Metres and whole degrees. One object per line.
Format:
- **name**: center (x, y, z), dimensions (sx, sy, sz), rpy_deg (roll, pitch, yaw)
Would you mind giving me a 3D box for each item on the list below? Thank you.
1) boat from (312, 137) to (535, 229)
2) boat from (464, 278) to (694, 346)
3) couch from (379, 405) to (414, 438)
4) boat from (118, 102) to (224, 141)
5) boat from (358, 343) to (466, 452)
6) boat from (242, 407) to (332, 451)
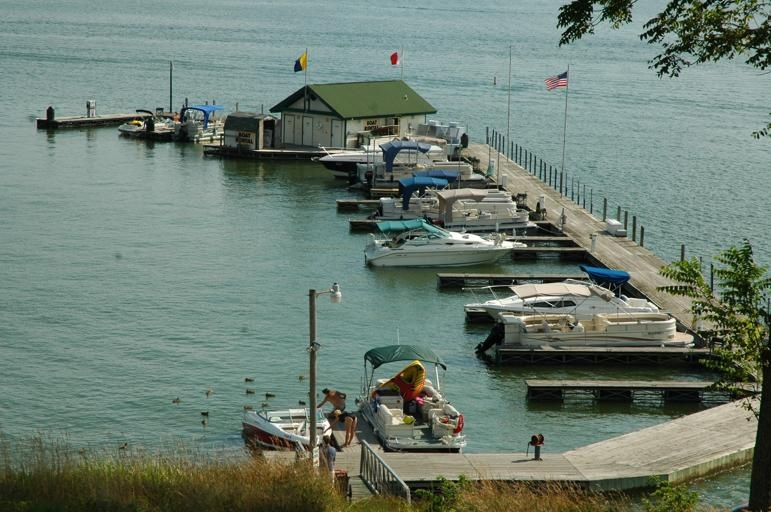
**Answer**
- **boat**: center (4.355, -5.658, 126.336), dimensions (12.432, 6.068, 15.200), rpy_deg (-2, 10, -15)
- **boat**: center (12.851, 3.854, 105.895), dimensions (17.350, 4.039, 4.257), rpy_deg (1, 4, 2)
- **couch**: center (0.629, 10.261, 95.862), dimensions (2.145, 1.518, 2.658), rpy_deg (0, 16, -13)
- **boat**: center (-20.522, -13.117, 151.478), dimensions (8.265, 3.494, 10.592), rpy_deg (-6, 12, -34)
- **boat**: center (1.405, 8.702, 97.394), dimensions (6.251, 4.077, 9.066), rpy_deg (-2, 21, -18)
- **boat**: center (-6.084, 10.621, 94.844), dimensions (4.633, 1.668, 2.515), rpy_deg (-1, 9, -5)
